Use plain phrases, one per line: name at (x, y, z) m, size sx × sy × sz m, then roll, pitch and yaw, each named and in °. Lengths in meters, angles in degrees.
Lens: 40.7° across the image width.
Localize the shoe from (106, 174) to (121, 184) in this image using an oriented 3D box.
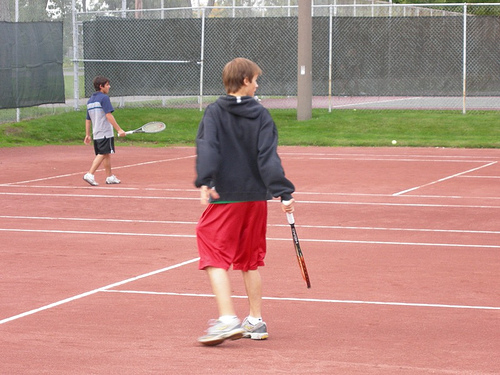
shoe at (-2.610, -0.179, 14.530) m, size 0.364 × 0.198 × 0.125 m, roll -1°, pitch 6°, yaw -8°

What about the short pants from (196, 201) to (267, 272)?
short pants at (-0.075, 0.424, 5.743) m, size 0.578 × 0.621 × 0.297 m, roll -3°, pitch 9°, yaw -3°

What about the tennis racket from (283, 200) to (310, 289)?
tennis racket at (0.617, 0.716, 8.141) m, size 0.120 × 0.997 × 0.148 m, roll -19°, pitch 7°, yaw 3°

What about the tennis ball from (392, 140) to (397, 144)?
tennis ball at (4.592, -1.464, 21.425) m, size 0.117 × 0.058 × 0.113 m, roll 7°, pitch 3°, yaw 0°

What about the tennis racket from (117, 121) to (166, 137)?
tennis racket at (-2.059, -1.308, 14.861) m, size 1.114 × 0.047 × 0.412 m, roll -10°, pitch 38°, yaw -20°

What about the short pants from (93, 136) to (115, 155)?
short pants at (-2.826, -0.866, 14.415) m, size 0.584 × 0.392 × 0.348 m, roll -3°, pitch -10°, yaw 31°

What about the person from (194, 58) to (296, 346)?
person at (-0.028, 0.121, 5.696) m, size 0.824 × 2.406 × 0.636 m, roll -7°, pitch 10°, yaw -23°

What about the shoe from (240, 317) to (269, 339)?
shoe at (0.076, 1.223, 5.818) m, size 0.118 × 0.120 × 0.268 m, roll 1°, pitch 0°, yaw -40°
